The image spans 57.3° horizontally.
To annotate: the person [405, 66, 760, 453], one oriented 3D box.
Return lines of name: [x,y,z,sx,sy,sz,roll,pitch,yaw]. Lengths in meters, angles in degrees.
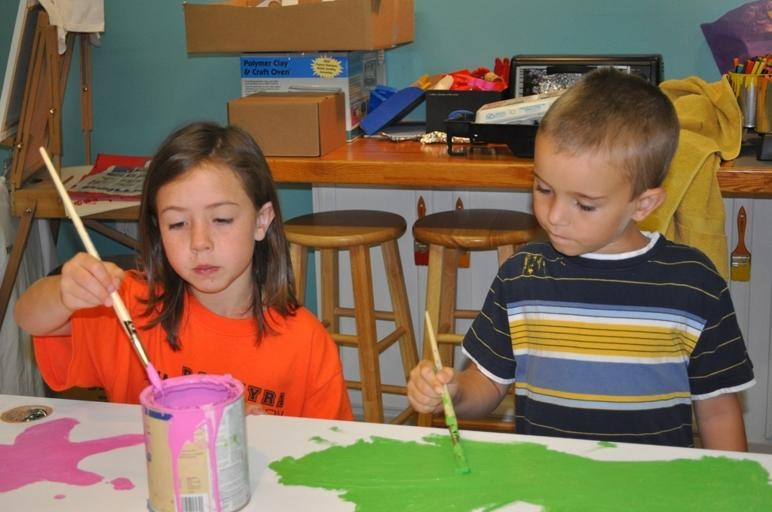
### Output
person: [0.404,0.016,1.440,0.621,0.776,0.272,-4,12,-6]

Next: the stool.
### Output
stool: [0.077,0.152,2.036,0.789,0.733,0.355,-1,15,3]
